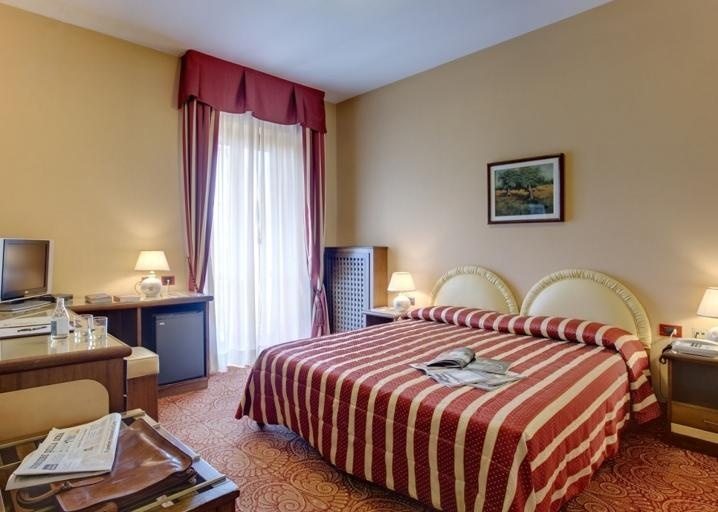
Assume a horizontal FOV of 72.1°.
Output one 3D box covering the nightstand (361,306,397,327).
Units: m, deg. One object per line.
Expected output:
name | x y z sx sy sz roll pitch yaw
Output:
nightstand | 0.241 0.672 5.468 0.237 0.242 0.244 -5 7 -36

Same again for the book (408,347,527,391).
book | 0.751 0.764 3.400 0.594 0.080 0.618 -7 14 -30

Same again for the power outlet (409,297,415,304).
power outlet | 0.605 0.512 5.622 0.009 0.081 0.064 -7 10 -44

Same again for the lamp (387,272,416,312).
lamp | 0.478 0.409 5.512 0.331 0.438 0.339 -1 -4 -6

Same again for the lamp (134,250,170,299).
lamp | -1.972 0.157 4.937 0.404 0.590 0.418 -2 4 -18

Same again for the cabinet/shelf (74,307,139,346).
cabinet/shelf | -2.267 0.661 4.648 0.376 0.388 0.207 -7 -9 39

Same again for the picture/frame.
picture/frame | 1.655 -0.654 4.798 0.680 0.645 0.072 1 3 35

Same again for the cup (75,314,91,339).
cup | -1.635 0.424 2.931 0.088 0.125 0.113 1 -3 40

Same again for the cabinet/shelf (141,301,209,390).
cabinet/shelf | -1.812 0.900 4.973 0.516 0.685 0.533 -3 -1 -11
